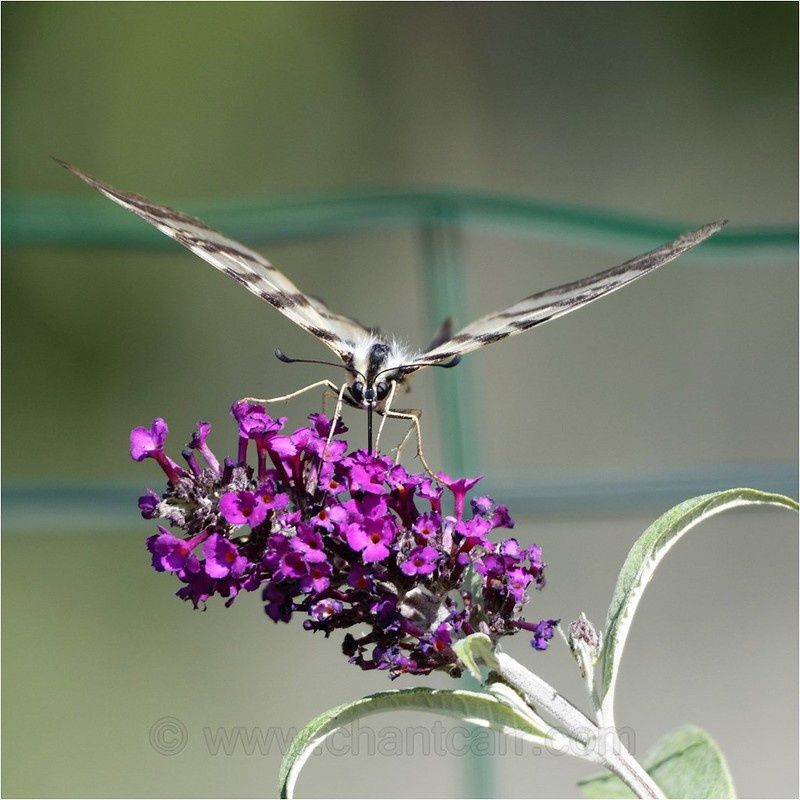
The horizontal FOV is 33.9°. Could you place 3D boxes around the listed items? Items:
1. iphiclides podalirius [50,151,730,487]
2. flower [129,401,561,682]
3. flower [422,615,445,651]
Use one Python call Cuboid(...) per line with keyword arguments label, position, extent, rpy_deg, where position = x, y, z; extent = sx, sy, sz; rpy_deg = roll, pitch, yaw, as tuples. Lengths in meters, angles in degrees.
Cuboid(label="iphiclides podalirius", position=(-0.077, -0.235, 4.084), extent=(1.620, 1.142, 0.766), rpy_deg=(4, -83, -3))
Cuboid(label="flower", position=(-0.148, 0.338, 3.214), extent=(1.077, 0.582, 0.401), rpy_deg=(9, -55, -4))
Cuboid(label="flower", position=(0.088, 0.548, 3.095), extent=(0.063, 0.058, 0.031), rpy_deg=(-5, -21, 35))
